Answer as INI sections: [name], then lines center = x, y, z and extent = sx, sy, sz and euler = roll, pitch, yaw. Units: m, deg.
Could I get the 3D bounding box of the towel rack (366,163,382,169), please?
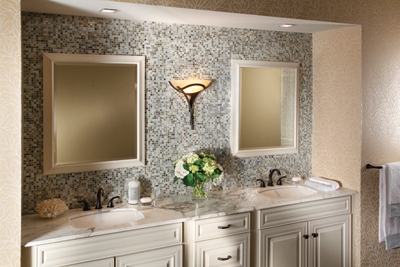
[towel rack]
center = 2.011, 0.372, 3.449
extent = 0.111, 0.056, 0.064
euler = 4, -7, 4

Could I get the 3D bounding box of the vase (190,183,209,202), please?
[vase]
center = -0.012, 0.604, 3.289
extent = 0.228, 0.246, 0.222
euler = -1, 4, -16

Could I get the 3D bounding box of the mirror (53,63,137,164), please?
[mirror]
center = -1.118, -0.229, 3.066
extent = 1.047, 1.240, 0.060
euler = -1, 0, -22

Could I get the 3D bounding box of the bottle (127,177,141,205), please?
[bottle]
center = -0.703, 0.595, 3.174
extent = 0.126, 0.284, 0.123
euler = -3, 3, 0

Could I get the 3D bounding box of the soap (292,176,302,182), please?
[soap]
center = 1.192, 0.553, 3.674
extent = 0.107, 0.045, 0.069
euler = -3, 3, 7

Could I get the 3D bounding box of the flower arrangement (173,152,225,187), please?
[flower arrangement]
center = -0.043, 0.395, 3.333
extent = 0.608, 0.352, 0.579
euler = -7, 2, -39

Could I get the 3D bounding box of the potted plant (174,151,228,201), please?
[potted plant]
center = -0.011, 0.400, 3.293
extent = 0.513, 0.493, 0.525
euler = 1, -1, 37

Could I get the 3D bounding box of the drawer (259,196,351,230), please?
[drawer]
center = 1.182, 0.838, 3.505
extent = 1.010, 0.232, 0.532
euler = -12, -2, 8
